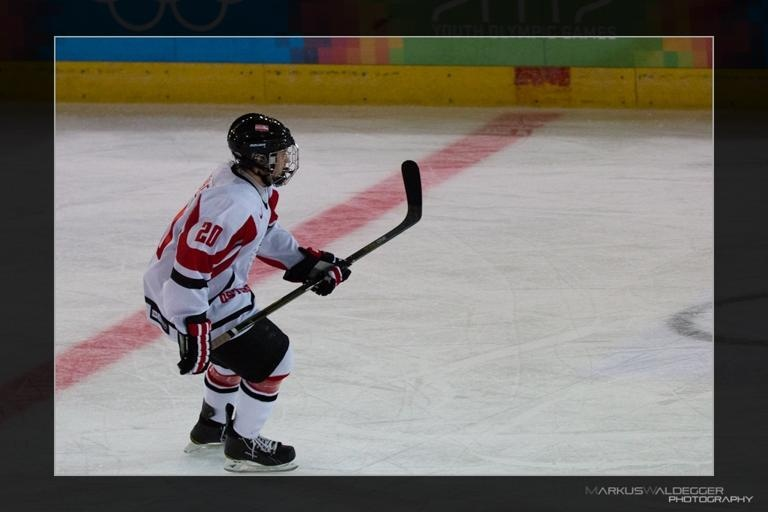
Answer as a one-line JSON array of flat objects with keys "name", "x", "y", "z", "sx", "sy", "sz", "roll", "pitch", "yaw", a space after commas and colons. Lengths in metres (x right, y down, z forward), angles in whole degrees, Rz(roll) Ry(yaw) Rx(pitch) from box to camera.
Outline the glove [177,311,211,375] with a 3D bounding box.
[{"name": "glove", "x": -0.806, "y": 0.385, "z": 4.193, "sx": 0.125, "sy": 0.214, "sz": 0.209, "roll": 4, "pitch": 4, "yaw": -34}]

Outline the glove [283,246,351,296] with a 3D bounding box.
[{"name": "glove", "x": -0.305, "y": 0.066, "z": 4.580, "sx": 0.304, "sy": 0.232, "sz": 0.125, "roll": -18, "pitch": -9, "yaw": -12}]

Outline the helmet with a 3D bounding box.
[{"name": "helmet", "x": -0.577, "y": -0.476, "z": 4.434, "sx": 0.369, "sy": 0.249, "sz": 0.251, "roll": 3, "pitch": 10, "yaw": -13}]

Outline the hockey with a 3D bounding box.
[{"name": "hockey", "x": -0.394, "y": 0.102, "z": 4.899, "sx": 1.840, "sy": 0.549, "sz": 0.201, "roll": -29, "pitch": 57, "yaw": -7}]
